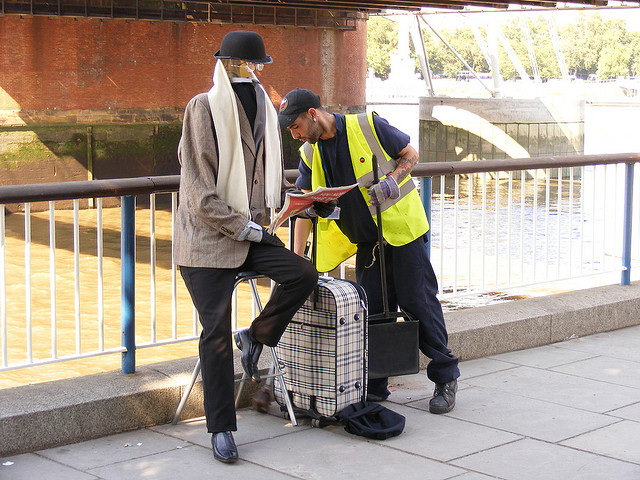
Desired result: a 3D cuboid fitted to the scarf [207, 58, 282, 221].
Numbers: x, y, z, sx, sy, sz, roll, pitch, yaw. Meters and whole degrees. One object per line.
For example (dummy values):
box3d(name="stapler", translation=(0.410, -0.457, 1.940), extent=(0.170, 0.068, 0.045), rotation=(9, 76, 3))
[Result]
box3d(name="scarf", translation=(-0.520, -0.685, 6.777), extent=(0.364, 1.087, 0.555), rotation=(0, 11, 20))

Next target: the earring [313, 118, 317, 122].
box3d(name="earring", translation=(-0.033, -0.848, 7.038), extent=(0.037, 0.029, 0.008), rotation=(-1, 5, -35))

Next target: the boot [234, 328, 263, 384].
box3d(name="boot", translation=(-0.489, 0.775, 6.978), extent=(0.196, 0.397, 0.143), rotation=(-21, -1, 29))

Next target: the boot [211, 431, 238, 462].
box3d(name="boot", translation=(-0.631, 1.359, 6.618), extent=(0.107, 0.098, 0.267), rotation=(-4, 6, -25))

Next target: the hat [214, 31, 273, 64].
box3d(name="hat", translation=(-0.507, -1.331, 6.847), extent=(0.507, 0.174, 0.432), rotation=(6, 22, 30))

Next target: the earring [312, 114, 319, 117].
box3d(name="earring", translation=(-0.030, -0.877, 7.033), extent=(0.016, 0.048, 0.013), rotation=(-20, 21, -26))

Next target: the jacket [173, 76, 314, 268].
box3d(name="jacket", translation=(-0.656, -0.453, 6.830), extent=(0.843, 1.293, 0.702), rotation=(-14, 28, -38))

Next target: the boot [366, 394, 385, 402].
box3d(name="boot", translation=(0.411, 1.175, 7.477), extent=(0.086, 0.055, 0.084), rotation=(14, -35, -31))

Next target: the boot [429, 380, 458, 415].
box3d(name="boot", translation=(0.903, 1.133, 7.361), extent=(0.156, 0.212, 0.242), rotation=(1, 11, 23))
